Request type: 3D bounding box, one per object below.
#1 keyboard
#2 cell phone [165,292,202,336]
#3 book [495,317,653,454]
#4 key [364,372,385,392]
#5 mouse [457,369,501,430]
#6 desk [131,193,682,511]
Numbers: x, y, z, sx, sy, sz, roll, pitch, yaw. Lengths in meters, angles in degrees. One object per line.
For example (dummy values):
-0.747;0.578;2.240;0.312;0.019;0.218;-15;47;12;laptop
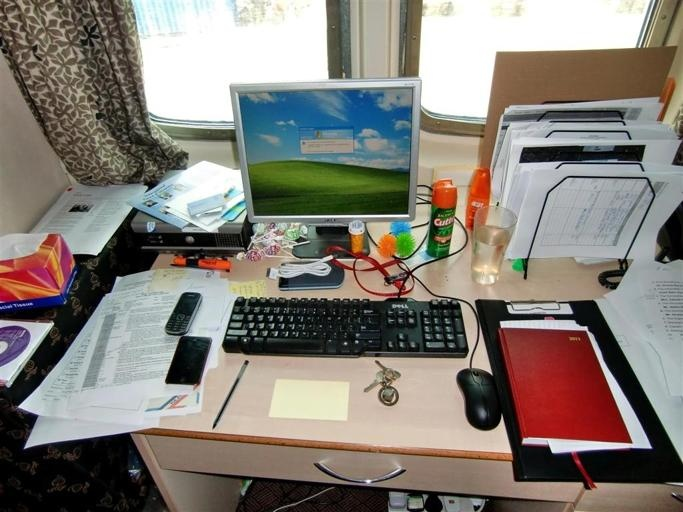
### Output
0.001;0.199;1.272;0.631;0.081;0.186;0;40;8;keyboard
-0.451;0.161;1.299;0.058;0.024;0.121;2;44;5;cell phone
0.550;0.314;1.135;0.291;0.103;0.304;-5;41;0;book
0.085;0.320;1.170;0.026;0.006;0.062;23;46;34;key
0.341;0.341;1.139;0.105;0.053;0.162;-1;45;3;mouse
0.196;0.236;1.246;1.330;0.803;0.483;-1;61;5;desk
